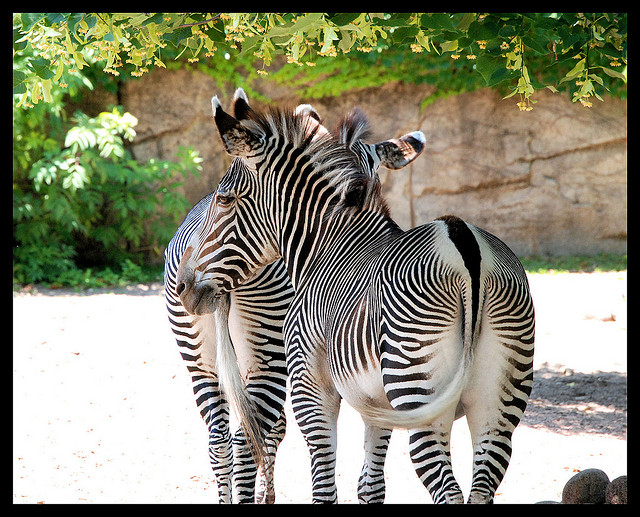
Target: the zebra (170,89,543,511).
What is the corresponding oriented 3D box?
[{"bbox_3d":[0.213,0.458,6.467,1.986,2.902,2.011,0,5,-5],"label":"zebra"}]
